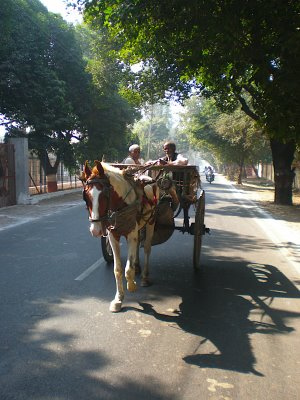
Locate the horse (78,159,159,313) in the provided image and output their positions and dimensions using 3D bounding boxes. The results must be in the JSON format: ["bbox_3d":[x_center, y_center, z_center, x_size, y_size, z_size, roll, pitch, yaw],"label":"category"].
[{"bbox_3d":[-0.271,0.420,4.752,0.528,1.980,2.295,0,3,15],"label":"horse"}]

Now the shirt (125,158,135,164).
[{"bbox_3d":[-0.378,-0.705,6.450,0.129,0.132,0.107,0,0,11],"label":"shirt"}]
